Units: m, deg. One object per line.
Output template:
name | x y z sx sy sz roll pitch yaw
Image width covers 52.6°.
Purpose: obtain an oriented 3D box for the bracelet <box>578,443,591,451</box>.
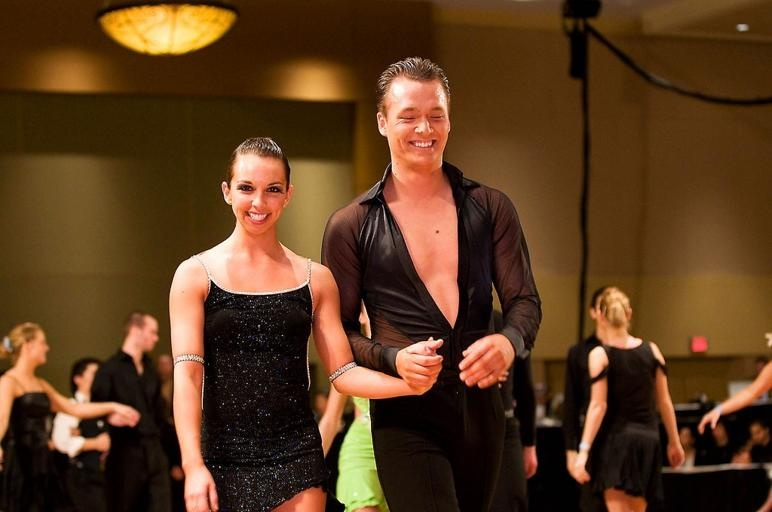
bracelet | 1.190 1.140 4.655 0.048 0.036 0.049 5 -10 -3
